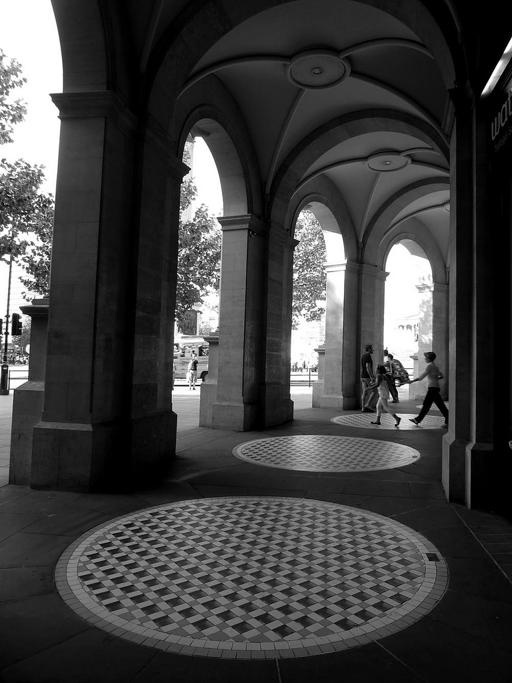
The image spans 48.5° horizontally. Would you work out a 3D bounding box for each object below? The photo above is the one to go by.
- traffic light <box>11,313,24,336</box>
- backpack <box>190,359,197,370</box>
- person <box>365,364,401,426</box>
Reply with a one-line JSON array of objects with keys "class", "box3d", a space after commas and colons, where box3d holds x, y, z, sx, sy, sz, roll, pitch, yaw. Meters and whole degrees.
[{"class": "traffic light", "box3d": [-8.039, -0.610, 19.408, 0.302, 0.792, 0.850, 2, -2, -25]}, {"class": "backpack", "box3d": [-2.763, 1.069, 25.756, 0.326, 0.715, 0.497, 1, -1, 4]}, {"class": "person", "box3d": [2.624, 1.122, 11.899, 0.669, 1.287, 0.383, -2, -6, 33]}]
